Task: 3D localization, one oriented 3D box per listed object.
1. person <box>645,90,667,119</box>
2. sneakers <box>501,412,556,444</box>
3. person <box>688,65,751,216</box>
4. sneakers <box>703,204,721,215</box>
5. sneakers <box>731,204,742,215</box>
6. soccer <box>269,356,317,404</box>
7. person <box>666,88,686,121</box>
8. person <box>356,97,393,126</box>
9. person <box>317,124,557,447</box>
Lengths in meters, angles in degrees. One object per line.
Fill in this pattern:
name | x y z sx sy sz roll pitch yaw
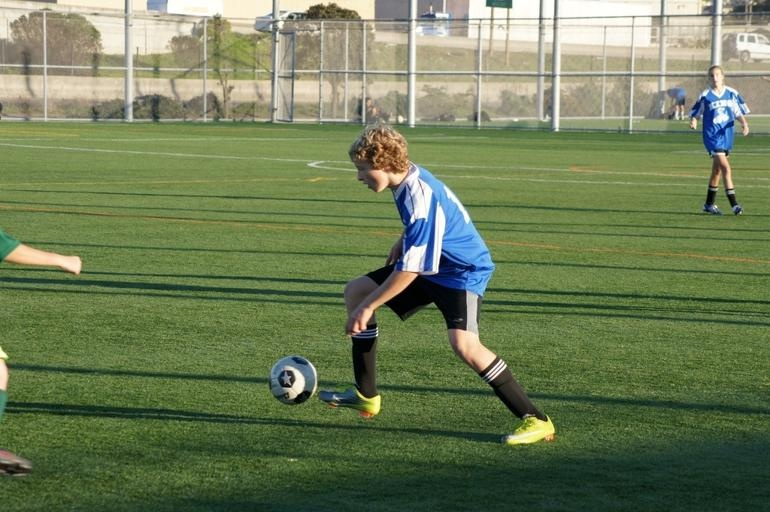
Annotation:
person | 9.655 -5.268 34.481 0.219 0.781 0.848 7 0 -26
sneakers | 0.967 1.128 6.457 0.399 0.192 0.146 -3 6 -13
person | 4.635 -1.605 13.511 0.748 1.996 1.019 2 8 17
sneakers | 4.486 -0.632 13.320 0.323 0.119 0.221 6 10 38
sneakers | 4.795 -0.610 13.209 0.094 0.095 0.218 -2 -2 -4
soccer | -0.600 0.833 6.739 0.350 0.320 0.316 -1 8 0
person | 10.430 -5.383 34.532 0.534 1.101 0.934 3 9 27
person | -0.486 -5.734 38.536 1.248 1.034 1.434 -1 8 -3
person | 0.296 0.172 6.458 1.464 2.067 0.636 -1 8 1
